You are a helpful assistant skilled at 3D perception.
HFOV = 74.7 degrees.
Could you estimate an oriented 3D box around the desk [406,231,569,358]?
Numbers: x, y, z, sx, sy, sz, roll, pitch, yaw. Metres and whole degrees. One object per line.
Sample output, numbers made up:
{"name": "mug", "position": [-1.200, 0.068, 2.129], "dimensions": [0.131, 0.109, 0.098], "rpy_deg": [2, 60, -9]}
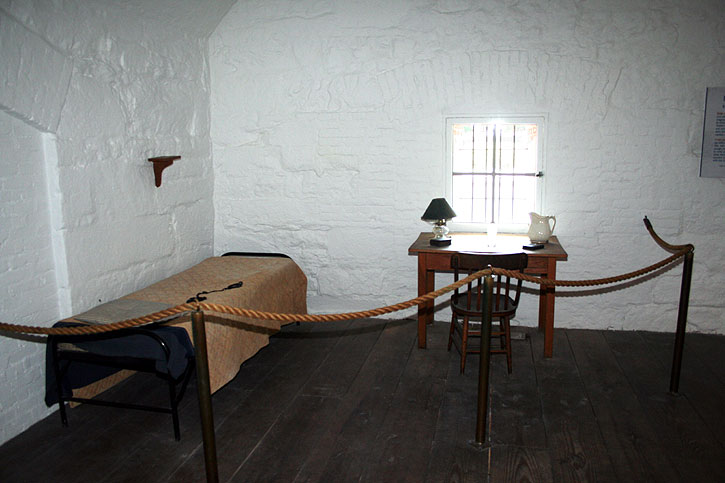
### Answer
{"name": "desk", "position": [1.212, 0.518, 4.809], "dimensions": [1.493, 0.979, 0.859], "rpy_deg": [0, 7, 5]}

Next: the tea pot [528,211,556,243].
{"name": "tea pot", "position": [1.714, -0.129, 4.512], "dimensions": [0.285, 0.274, 0.204], "rpy_deg": [0, 8, 11]}

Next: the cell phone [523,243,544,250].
{"name": "cell phone", "position": [1.621, 0.047, 4.441], "dimensions": [0.226, 0.054, 0.115], "rpy_deg": [-3, 10, -9]}

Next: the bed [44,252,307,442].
{"name": "bed", "position": [-1.419, 0.818, 4.193], "dimensions": [0.988, 0.547, 1.718], "rpy_deg": [4, 10, 20]}

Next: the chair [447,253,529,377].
{"name": "chair", "position": [1.122, 0.573, 4.337], "dimensions": [0.654, 1.043, 1.183], "rpy_deg": [1, 10, 11]}
